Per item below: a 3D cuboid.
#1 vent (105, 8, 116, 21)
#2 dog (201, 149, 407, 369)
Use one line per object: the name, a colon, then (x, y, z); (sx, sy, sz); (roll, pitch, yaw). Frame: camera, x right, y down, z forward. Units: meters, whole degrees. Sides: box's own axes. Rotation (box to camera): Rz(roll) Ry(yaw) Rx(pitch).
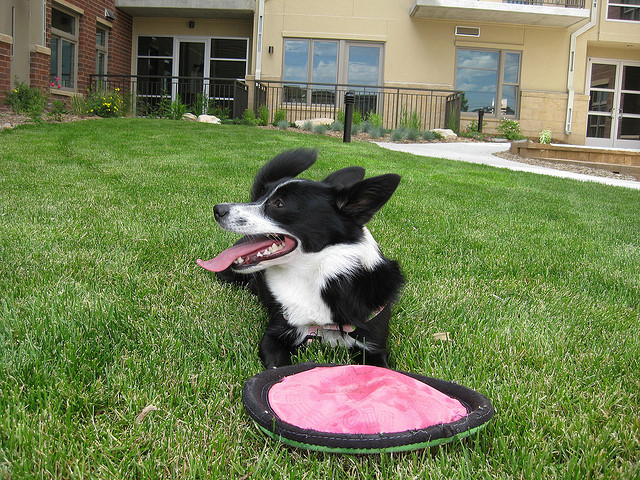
vent: (-7.364, -7.933, 18.351); (0.205, 0.263, 0.505); (4, 13, 0)
dog: (-0.092, 0.140, 3.043); (1.071, 1.189, 1.716); (-1, 17, -7)
